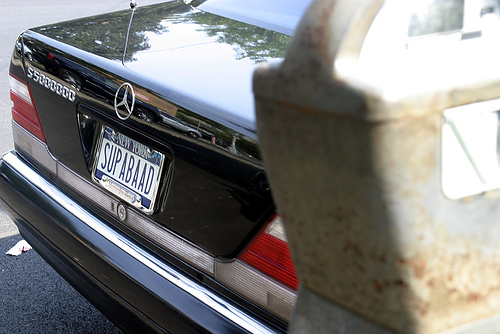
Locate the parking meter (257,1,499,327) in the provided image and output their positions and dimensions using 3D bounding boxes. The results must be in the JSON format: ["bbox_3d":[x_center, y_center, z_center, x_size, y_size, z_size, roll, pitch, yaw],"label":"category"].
[{"bbox_3d":[0.326,-0.010,1.097,0.574,0.724,0.463,-23,32,-34],"label":"parking meter"}]
